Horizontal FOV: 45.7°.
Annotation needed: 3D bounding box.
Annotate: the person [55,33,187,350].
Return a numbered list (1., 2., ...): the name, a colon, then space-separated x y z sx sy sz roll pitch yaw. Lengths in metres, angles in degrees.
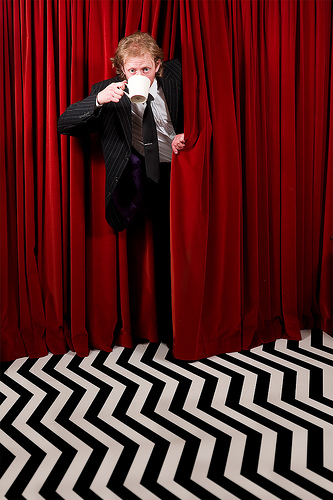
1. person: -0.103 -0.264 1.897 0.514 1.476 0.457 -11 42 -11

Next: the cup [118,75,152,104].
1. cup: -0.100 -0.535 1.319 0.094 0.084 0.087 0 11 0

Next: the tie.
1. tie: -0.068 -0.432 1.571 0.067 0.337 0.180 0 9 4
